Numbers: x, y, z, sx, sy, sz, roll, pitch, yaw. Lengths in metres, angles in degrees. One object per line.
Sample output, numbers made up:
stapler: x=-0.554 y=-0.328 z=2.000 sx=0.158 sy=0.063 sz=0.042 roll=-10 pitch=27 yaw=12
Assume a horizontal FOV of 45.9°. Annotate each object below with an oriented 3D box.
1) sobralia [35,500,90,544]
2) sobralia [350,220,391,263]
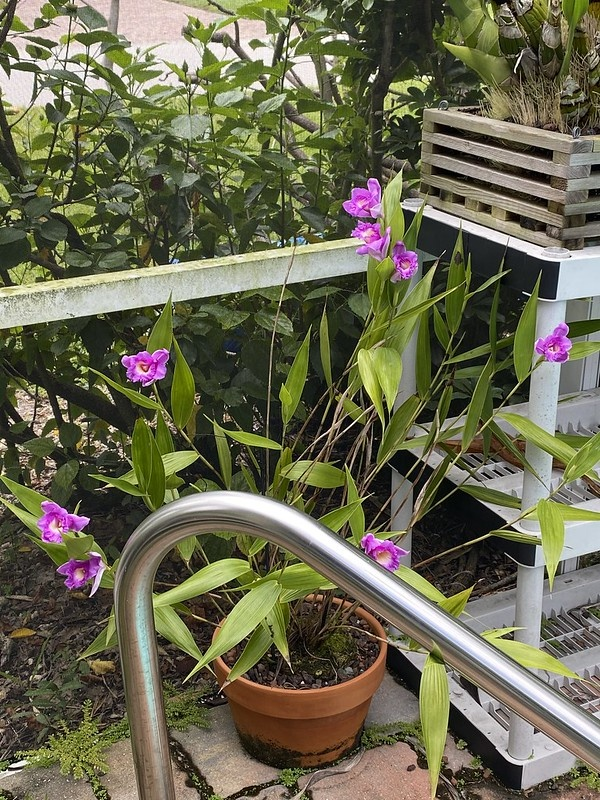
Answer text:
sobralia: x=-0.265 y=0.136 z=0.813 sx=0.065 sy=0.052 sz=0.028 roll=-14 pitch=13 yaw=12
sobralia: x=0.121 y=-0.253 z=1.102 sx=0.044 sy=0.064 sz=0.058 roll=3 pitch=-24 yaw=-39
